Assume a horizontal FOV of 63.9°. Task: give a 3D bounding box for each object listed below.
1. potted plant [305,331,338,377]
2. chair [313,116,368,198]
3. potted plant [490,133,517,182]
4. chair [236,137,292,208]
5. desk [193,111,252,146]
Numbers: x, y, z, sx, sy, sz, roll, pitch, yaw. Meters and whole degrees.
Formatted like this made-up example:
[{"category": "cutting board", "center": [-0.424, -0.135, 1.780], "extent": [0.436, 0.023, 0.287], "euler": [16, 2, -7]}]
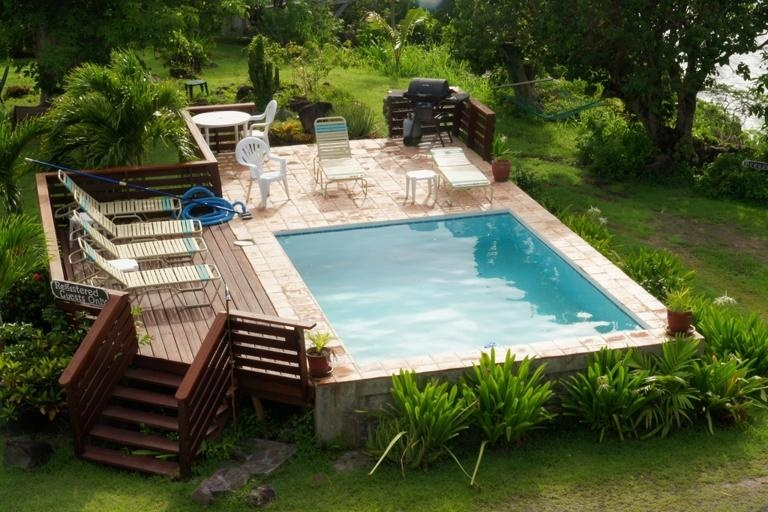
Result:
[{"category": "potted plant", "center": [-1.025, 1.539, 9.876], "extent": [0.398, 0.626, 0.560], "euler": [-1, 16, 2]}, {"category": "chair", "center": [-1.284, -2.679, 16.066], "extent": [1.208, 1.571, 2.386], "euler": [-5, 36, -11]}, {"category": "potted plant", "center": [3.198, -2.634, 16.581], "extent": [0.528, 1.203, 1.002], "euler": [1, 17, 10]}, {"category": "chair", "center": [-3.086, -2.047, 15.520], "extent": [1.306, 1.718, 1.291], "euler": [-28, 47, -37]}, {"category": "desk", "center": [-4.514, -3.591, 17.290], "extent": [1.550, 0.916, 1.705], "euler": [-5, 17, -12]}]
